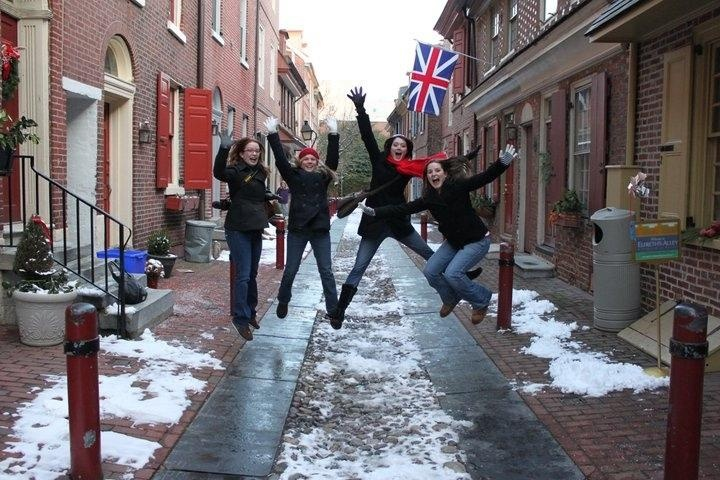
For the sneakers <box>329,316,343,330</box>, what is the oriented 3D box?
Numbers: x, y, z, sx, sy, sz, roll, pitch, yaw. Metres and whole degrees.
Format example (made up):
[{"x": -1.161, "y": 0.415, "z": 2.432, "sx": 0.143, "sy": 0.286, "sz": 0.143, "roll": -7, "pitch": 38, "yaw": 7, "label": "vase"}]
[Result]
[{"x": -0.290, "y": 1.050, "z": 6.801, "sx": 0.123, "sy": 0.202, "sz": 0.210, "roll": 0, "pitch": -6, "yaw": 3, "label": "sneakers"}]

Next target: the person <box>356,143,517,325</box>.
[{"x": 1.111, "y": -0.041, "z": 6.485, "sx": 1.353, "sy": 2.199, "sz": 0.489, "roll": 2, "pitch": 10, "yaw": 10, "label": "person"}]

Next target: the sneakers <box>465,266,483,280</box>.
[{"x": 1.522, "y": 0.438, "z": 6.901, "sx": 0.166, "sy": 0.128, "sz": 0.396, "roll": -26, "pitch": -10, "yaw": 36, "label": "sneakers"}]

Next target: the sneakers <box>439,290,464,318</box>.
[{"x": 1.121, "y": 0.859, "z": 6.887, "sx": 0.197, "sy": 0.466, "sz": 0.156, "roll": 13, "pitch": 24, "yaw": -41, "label": "sneakers"}]

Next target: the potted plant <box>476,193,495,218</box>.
[{"x": 3.784, "y": -1.004, "z": 15.906, "sx": 0.567, "sy": 0.559, "sz": 0.561, "roll": 0, "pitch": 3, "yaw": -2, "label": "potted plant"}]

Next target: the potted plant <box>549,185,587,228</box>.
[{"x": 3.853, "y": -0.585, "z": 9.806, "sx": 0.641, "sy": 0.773, "sz": 0.663, "roll": 3, "pitch": 7, "yaw": 29, "label": "potted plant"}]

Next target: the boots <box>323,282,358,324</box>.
[{"x": -0.232, "y": 0.825, "z": 7.053, "sx": 0.235, "sy": 0.544, "sz": 0.563, "roll": 17, "pitch": 4, "yaw": -5, "label": "boots"}]

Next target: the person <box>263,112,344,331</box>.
[{"x": -0.708, "y": -0.156, "z": 6.778, "sx": 0.858, "sy": 2.726, "sz": 0.974, "roll": 0, "pitch": 10, "yaw": -5, "label": "person"}]

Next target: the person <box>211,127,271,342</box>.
[{"x": -1.429, "y": -0.070, "z": 6.468, "sx": 0.606, "sy": 2.447, "sz": 0.702, "roll": -1, "pitch": 10, "yaw": -10, "label": "person"}]

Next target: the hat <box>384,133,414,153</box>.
[{"x": 0.507, "y": -1.256, "z": 6.956, "sx": 0.279, "sy": 0.375, "sz": 0.145, "roll": 1, "pitch": 24, "yaw": 4, "label": "hat"}]

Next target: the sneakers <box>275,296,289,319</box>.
[{"x": -0.997, "y": 0.844, "z": 6.802, "sx": 0.135, "sy": 0.272, "sz": 0.385, "roll": 3, "pitch": 28, "yaw": -12, "label": "sneakers"}]

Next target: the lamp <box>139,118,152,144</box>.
[{"x": -4.397, "y": -2.199, "z": 10.834, "sx": 0.212, "sy": 0.462, "sz": 0.602, "roll": -3, "pitch": 11, "yaw": -19, "label": "lamp"}]

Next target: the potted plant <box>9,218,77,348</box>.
[{"x": -3.670, "y": 0.450, "z": 6.134, "sx": 0.649, "sy": 1.429, "sz": 0.753, "roll": -6, "pitch": 12, "yaw": -34, "label": "potted plant"}]

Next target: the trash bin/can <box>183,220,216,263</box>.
[{"x": -3.691, "y": 0.035, "z": 12.793, "sx": 0.889, "sy": 1.027, "sz": 0.829, "roll": 2, "pitch": 0, "yaw": 33, "label": "trash bin/can"}]

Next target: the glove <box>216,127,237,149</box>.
[{"x": -1.628, "y": -1.235, "z": 6.459, "sx": 0.154, "sy": 0.225, "sz": 0.717, "roll": -2, "pitch": 11, "yaw": -12, "label": "glove"}]

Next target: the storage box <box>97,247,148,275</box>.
[{"x": -3.944, "y": 0.320, "z": 8.701, "sx": 0.839, "sy": 0.446, "sz": 0.665, "roll": 2, "pitch": 3, "yaw": 8, "label": "storage box"}]
